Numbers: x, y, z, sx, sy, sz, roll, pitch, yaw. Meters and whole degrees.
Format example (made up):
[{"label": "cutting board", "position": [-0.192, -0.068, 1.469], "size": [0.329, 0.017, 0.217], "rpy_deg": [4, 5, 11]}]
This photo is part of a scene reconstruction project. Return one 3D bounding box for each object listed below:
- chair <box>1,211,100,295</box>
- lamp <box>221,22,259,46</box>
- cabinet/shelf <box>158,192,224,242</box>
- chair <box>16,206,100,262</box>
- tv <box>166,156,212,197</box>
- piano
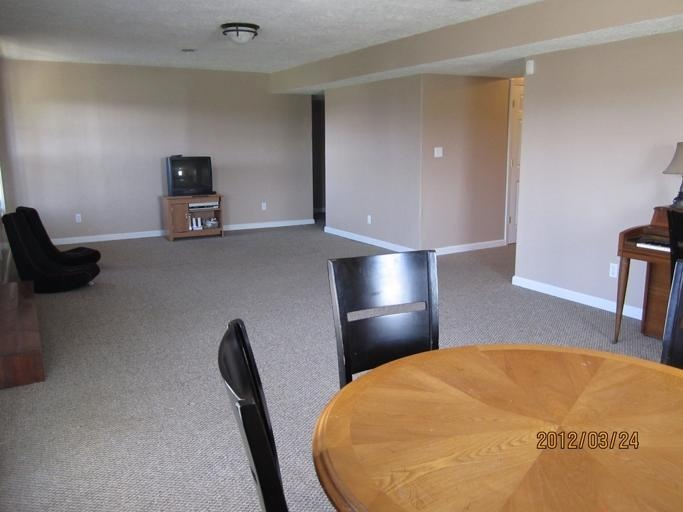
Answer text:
[{"label": "chair", "position": [-3.337, -0.109, 5.566], "size": [1.018, 0.941, 0.924], "rpy_deg": [-1, 11, -25]}, {"label": "lamp", "position": [-1.170, -2.600, 5.393], "size": [0.454, 0.143, 0.501], "rpy_deg": [-3, 14, -12]}, {"label": "cabinet/shelf", "position": [-2.658, -0.699, 8.160], "size": [0.841, 0.598, 0.322], "rpy_deg": [-8, 17, -33]}, {"label": "chair", "position": [-3.544, -0.238, 5.807], "size": [0.881, 0.812, 0.771], "rpy_deg": [-3, 9, -19]}, {"label": "tv", "position": [-2.683, -1.404, 8.083], "size": [0.673, 0.623, 0.379], "rpy_deg": [-7, 12, -34]}, {"label": "piano", "position": [2.524, 0.147, 3.869], "size": [0.405, 1.134, 0.705], "rpy_deg": [8, 16, 31]}]
